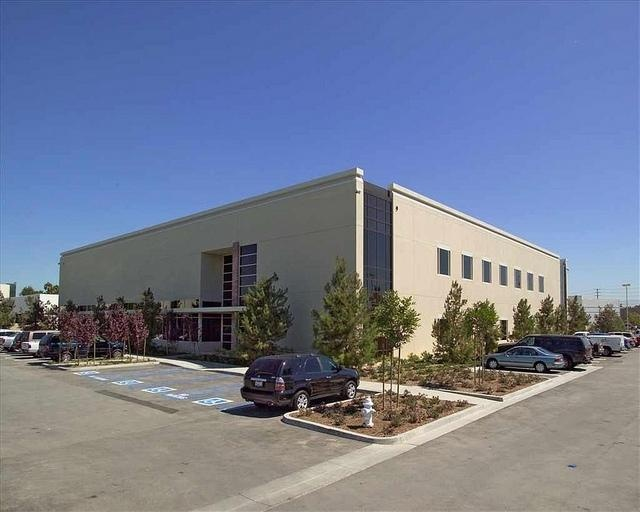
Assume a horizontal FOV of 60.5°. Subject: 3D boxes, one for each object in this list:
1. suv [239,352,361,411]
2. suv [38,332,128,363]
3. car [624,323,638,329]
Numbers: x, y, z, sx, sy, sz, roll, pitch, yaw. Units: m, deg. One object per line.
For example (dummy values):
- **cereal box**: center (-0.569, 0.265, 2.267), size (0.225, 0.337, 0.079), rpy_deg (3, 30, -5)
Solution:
- **suv**: center (-0.654, 4.248, 19.277), size (1.737, 1.612, 3.757), rpy_deg (-4, -3, 44)
- **suv**: center (-15.020, 5.754, 34.588), size (4.453, 1.687, 3.233), rpy_deg (2, -3, -36)
- **car**: center (64.186, 14.488, 113.029), size (1.977, 1.433, 2.268), rpy_deg (1, -9, -1)
